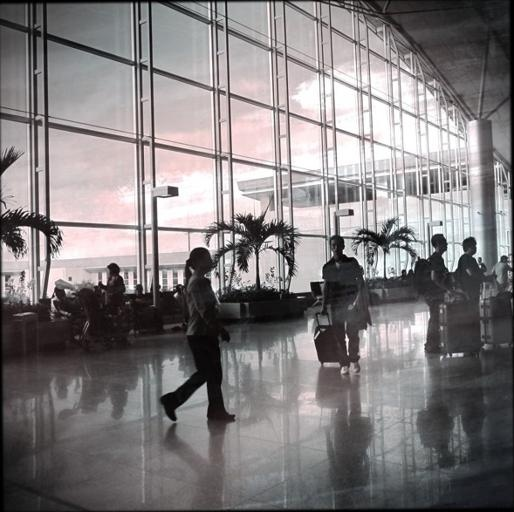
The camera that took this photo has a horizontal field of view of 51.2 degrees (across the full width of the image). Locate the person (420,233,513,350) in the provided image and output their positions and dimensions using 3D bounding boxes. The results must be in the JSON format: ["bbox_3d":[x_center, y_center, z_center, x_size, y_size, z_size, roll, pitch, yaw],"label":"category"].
[{"bbox_3d":[2.189,0.478,6.007,0.761,1.401,1.312,-3,-4,24],"label":"person"}]

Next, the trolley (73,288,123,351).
[{"bbox_3d":[-2.661,1.060,9.006,0.560,0.797,1.134,-4,-4,11],"label":"trolley"}]

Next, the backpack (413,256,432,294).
[{"bbox_3d":[1.824,0.228,5.972,0.192,0.432,0.426,-2,-3,17],"label":"backpack"}]

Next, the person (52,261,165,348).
[{"bbox_3d":[-2.711,0.910,9.720,0.964,1.291,2.057,-2,-1,18],"label":"person"}]

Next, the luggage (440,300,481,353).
[{"bbox_3d":[2.403,0.816,6.333,0.411,0.721,0.247,-5,9,5],"label":"luggage"}]

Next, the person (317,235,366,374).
[{"bbox_3d":[0.902,0.520,5.547,0.404,1.424,0.508,-2,-3,14],"label":"person"}]

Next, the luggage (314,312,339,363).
[{"bbox_3d":[0.774,0.936,6.034,0.225,0.599,0.196,-9,10,10],"label":"luggage"}]

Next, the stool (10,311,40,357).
[{"bbox_3d":[-3.701,1.187,8.255,0.378,0.629,0.406,11,-1,8],"label":"stool"}]

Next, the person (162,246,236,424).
[{"bbox_3d":[-0.447,0.600,4.144,0.540,1.337,0.408,-2,-3,14],"label":"person"}]

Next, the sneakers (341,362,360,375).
[{"bbox_3d":[1.008,1.227,5.782,0.108,0.147,0.338,-7,-18,25],"label":"sneakers"}]
